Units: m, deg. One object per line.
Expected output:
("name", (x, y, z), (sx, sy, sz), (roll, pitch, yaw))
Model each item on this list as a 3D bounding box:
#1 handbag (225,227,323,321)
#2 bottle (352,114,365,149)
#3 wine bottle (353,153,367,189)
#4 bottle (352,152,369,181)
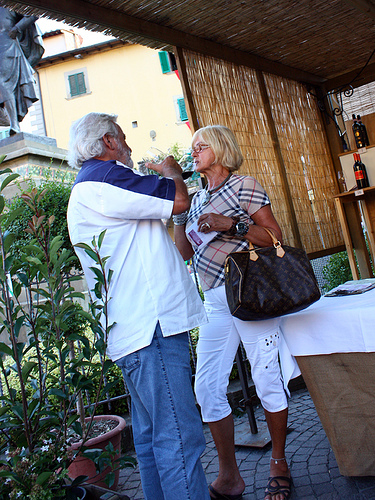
("handbag", (0.349, 0.094, 1.729), (0.406, 0.389, 0.171), (-9, 0, -15))
("bottle", (1.799, -1.252, 4.144), (0.085, 0.373, 0.335), (-15, 0, 26))
("wine bottle", (1.694, -0.788, 3.922), (0.092, 0.356, 0.108), (-15, 1, -35))
("bottle", (1.702, -0.850, 3.926), (0.126, 0.254, 0.082), (-14, 1, 41))
